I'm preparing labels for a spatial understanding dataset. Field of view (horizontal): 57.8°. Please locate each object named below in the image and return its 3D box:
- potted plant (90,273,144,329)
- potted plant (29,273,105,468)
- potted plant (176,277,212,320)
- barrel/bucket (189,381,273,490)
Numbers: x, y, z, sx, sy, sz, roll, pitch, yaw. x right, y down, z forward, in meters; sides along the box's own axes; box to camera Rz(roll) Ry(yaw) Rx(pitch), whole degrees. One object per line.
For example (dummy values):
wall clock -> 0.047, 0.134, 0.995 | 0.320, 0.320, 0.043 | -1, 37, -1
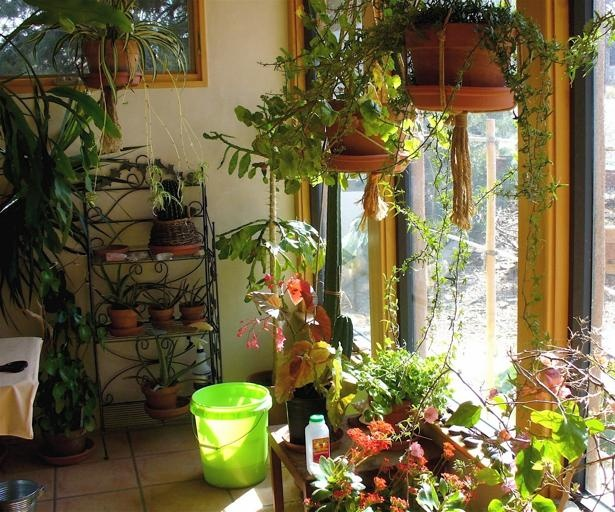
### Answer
potted plant -> -1.153, 0.256, 3.517 | 0.324, 0.351, 0.311 | -3, 4, 29
potted plant -> -1.361, 0.590, 3.130 | 0.368, 1.167, 0.963 | -5, 9, -28
potted plant -> -0.728, 0.264, 3.554 | 0.212, 0.298, 0.217 | 0, 8, -3
barrel/bucket -> -0.374, 0.907, 2.984 | 0.465, 0.451, 0.498 | 0, 9, 0
